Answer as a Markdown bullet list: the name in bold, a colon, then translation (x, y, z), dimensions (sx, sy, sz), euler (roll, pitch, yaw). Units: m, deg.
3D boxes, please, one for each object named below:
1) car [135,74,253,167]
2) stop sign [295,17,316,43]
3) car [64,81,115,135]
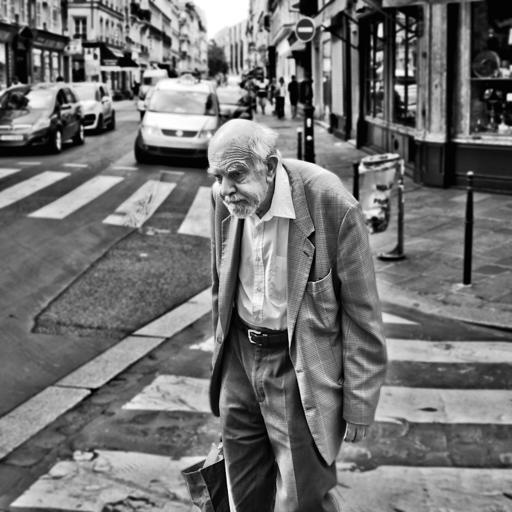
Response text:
- **car**: translation (-1.835, -3.615, 15.868), dimensions (1.465, 1.885, 3.186), euler (0, 7, 2)
- **stop sign**: translation (1.269, -5.903, 15.735), dimensions (0.486, 0.756, 1.700), euler (0, 13, 4)
- **car**: translation (-6.297, -5.785, 23.304), dimensions (1.374, 1.477, 2.567), euler (-1, 6, 4)
